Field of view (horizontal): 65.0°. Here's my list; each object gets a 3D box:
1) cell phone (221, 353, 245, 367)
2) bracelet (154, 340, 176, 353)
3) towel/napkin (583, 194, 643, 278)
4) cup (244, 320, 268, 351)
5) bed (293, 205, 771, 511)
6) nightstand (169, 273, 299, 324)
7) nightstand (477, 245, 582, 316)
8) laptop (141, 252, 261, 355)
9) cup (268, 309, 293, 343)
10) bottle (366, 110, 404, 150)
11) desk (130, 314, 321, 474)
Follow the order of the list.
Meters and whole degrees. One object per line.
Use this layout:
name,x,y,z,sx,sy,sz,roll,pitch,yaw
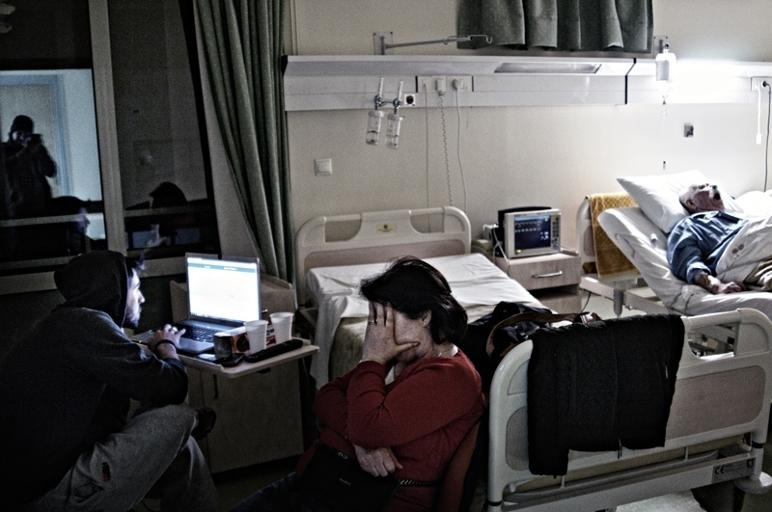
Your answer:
cell phone,-0.682,0.465,2.675,0.102,0.039,0.075,-6,11,-17
bracelet,-0.967,0.394,2.639,0.056,0.021,0.054,9,10,29
towel/napkin,1.518,-0.149,4.317,0.534,0.522,0.146,-6,1,-37
cup,-0.584,0.361,2.760,0.143,0.158,0.120,-1,0,0
bed,0.559,-0.098,3.192,1.597,0.730,2.334,-7,19,-18
nightstand,-0.724,0.201,3.361,0.483,0.323,0.293,2,5,10
nightstand,1.031,0.137,4.210,0.614,0.543,0.462,-11,27,-24
laptop,-0.806,0.167,3.092,0.652,0.450,0.441,9,15,35
cup,-0.494,0.344,2.897,0.134,0.134,0.131,-1,-1,0
bottle,-0.005,-0.804,3.880,0.302,0.278,0.095,5,0,4
desk,-0.778,0.830,3.112,0.992,0.672,0.797,-8,15,-27
